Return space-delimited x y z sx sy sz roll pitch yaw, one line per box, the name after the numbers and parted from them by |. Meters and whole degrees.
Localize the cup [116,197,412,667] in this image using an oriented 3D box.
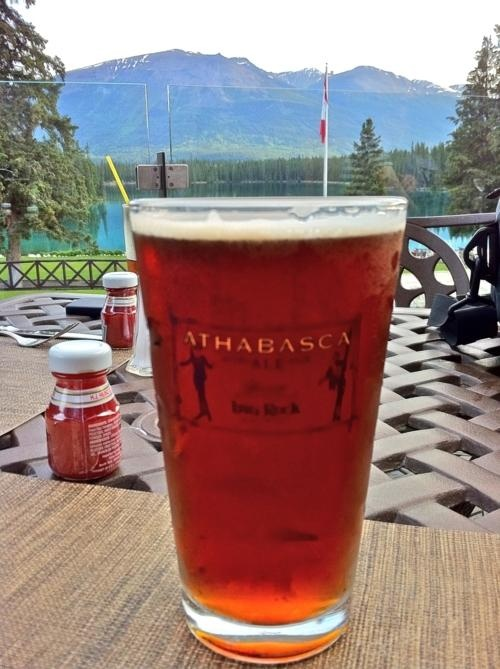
0.006 0.056 0.254 0.110 0.232 0.047 2 12 10 | cup
